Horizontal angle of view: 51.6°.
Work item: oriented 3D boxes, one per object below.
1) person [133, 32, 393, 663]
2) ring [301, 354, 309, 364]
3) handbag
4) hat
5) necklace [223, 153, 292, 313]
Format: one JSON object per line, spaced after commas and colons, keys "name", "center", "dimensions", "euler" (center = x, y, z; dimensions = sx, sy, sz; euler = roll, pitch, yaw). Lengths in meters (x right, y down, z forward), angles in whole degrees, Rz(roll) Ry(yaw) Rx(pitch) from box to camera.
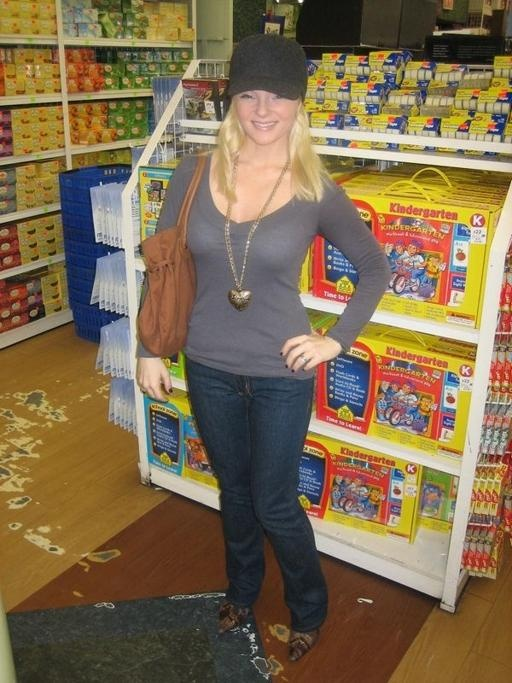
{"name": "person", "center": [0.024, 0.134, 1.388], "dimensions": [0.490, 1.645, 0.398], "euler": [15, 20, 42]}
{"name": "ring", "center": [0.106, 0.036, 1.133], "dimensions": [0.018, 0.016, 0.029], "euler": [0, -18, 10]}
{"name": "handbag", "center": [-0.241, -0.108, 1.301], "dimensions": [0.144, 0.315, 0.118], "euler": [-9, 41, -31]}
{"name": "hat", "center": [0.046, -0.592, 1.157], "dimensions": [0.199, 0.126, 0.263], "euler": [8, 27, 3]}
{"name": "necklace", "center": [-0.004, -0.241, 1.217], "dimensions": [0.110, 0.321, 0.167], "euler": [7, 16, 20]}
